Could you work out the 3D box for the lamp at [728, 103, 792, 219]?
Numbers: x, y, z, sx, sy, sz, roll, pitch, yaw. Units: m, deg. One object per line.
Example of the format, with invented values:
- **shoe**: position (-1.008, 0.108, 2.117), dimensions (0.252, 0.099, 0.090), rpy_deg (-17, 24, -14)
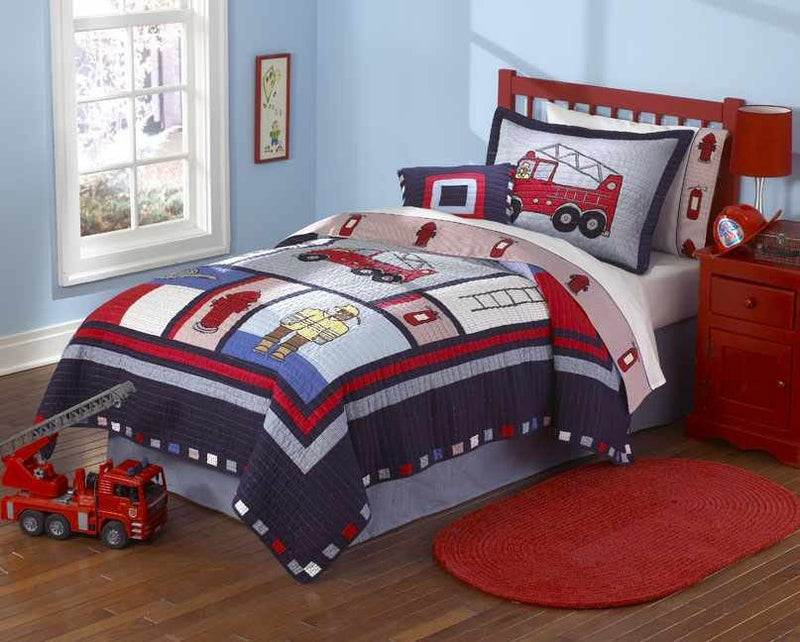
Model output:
- **lamp**: position (1.477, -0.667, 2.920), dimensions (0.220, 0.419, 0.298), rpy_deg (7, 17, 23)
